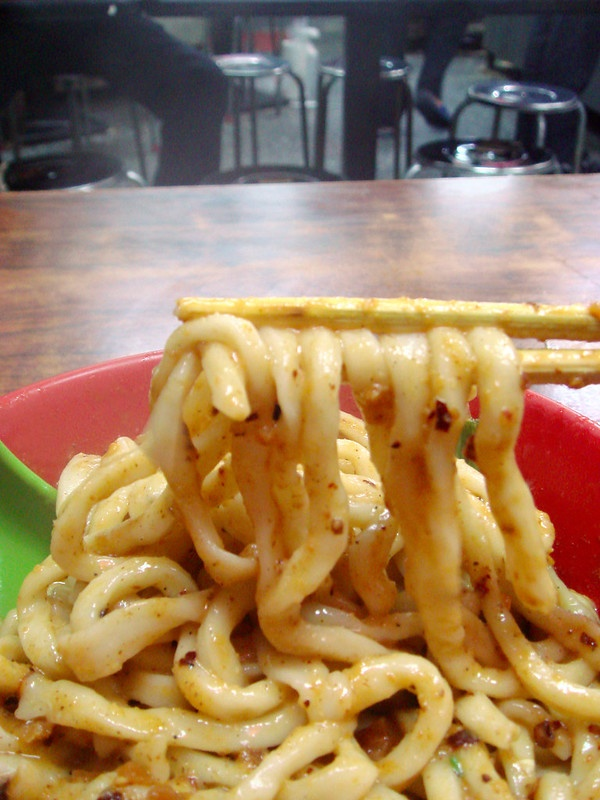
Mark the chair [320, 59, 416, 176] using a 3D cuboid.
[{"bbox_3d":[0.397,-1.611,4.353,0.518,0.675,0.474,-1,31,-4],"label":"chair"}]
